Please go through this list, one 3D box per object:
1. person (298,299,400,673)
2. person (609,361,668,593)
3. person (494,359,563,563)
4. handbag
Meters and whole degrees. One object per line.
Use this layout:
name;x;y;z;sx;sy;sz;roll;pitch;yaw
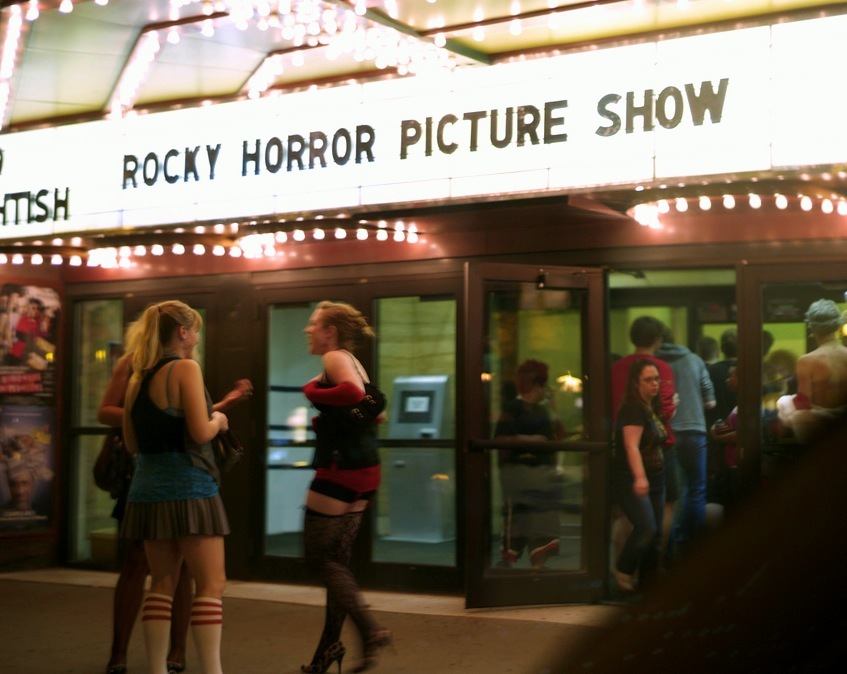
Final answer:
person;-0.377;0.700;4.203;0.394;1.768;0.445;1;-7;-8
person;1.412;0.852;5.852;0.354;1.420;0.493;-2;-7;12
person;0.695;0.828;5.987;0.446;1.366;0.124;0;-7;3
handbag;-0.389;0.271;4.255;0.242;0.405;0.300;-5;7;5
